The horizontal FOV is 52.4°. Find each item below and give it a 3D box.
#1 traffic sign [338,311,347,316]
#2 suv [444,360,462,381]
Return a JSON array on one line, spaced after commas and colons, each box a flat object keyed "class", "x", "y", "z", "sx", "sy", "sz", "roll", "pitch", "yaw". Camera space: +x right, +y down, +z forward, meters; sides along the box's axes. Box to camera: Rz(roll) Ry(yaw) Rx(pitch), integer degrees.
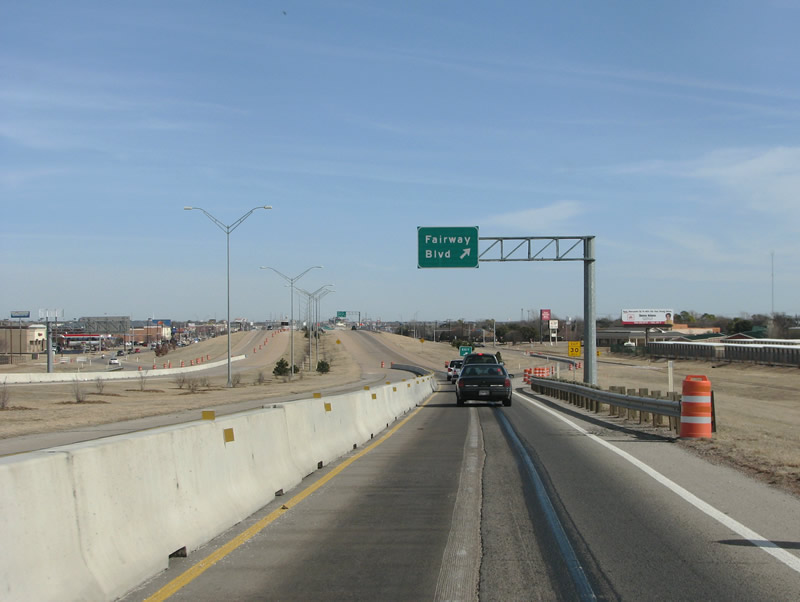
[{"class": "traffic sign", "x": -13.645, "y": 2.776, "z": 190.643, "sx": 1.746, "sy": 1.759, "sz": 1.328, "roll": 1, "pitch": -7, "yaw": -5}, {"class": "suv", "x": 4.016, "y": 5.275, "z": 60.836, "sx": 1.369, "sy": 1.204, "sz": 2.561, "roll": 1, "pitch": 5, "yaw": 2}]
